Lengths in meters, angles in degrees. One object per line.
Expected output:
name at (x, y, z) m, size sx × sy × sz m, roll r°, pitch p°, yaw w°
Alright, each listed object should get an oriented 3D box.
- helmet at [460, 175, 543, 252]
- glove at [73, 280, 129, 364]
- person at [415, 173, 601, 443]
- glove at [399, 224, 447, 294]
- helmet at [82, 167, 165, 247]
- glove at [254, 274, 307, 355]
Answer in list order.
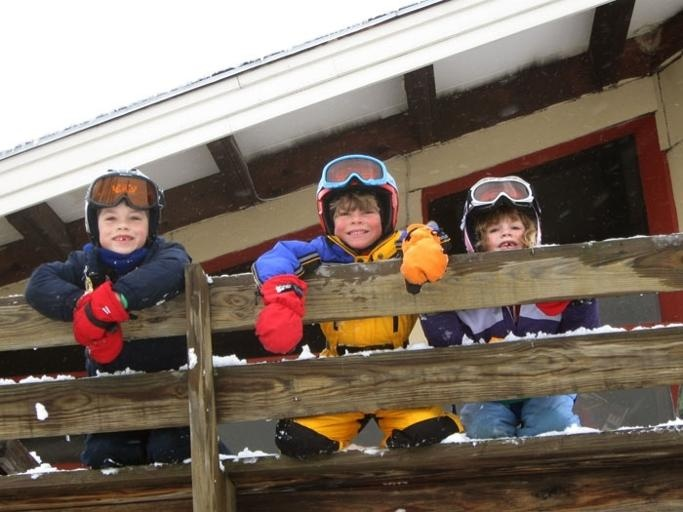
helmet at (1.171, -0.314, 9.028) m, size 0.532 × 0.563 × 0.554 m, roll 0°, pitch 11°, yaw 9°
glove at (-1.567, 0.438, 8.024) m, size 0.391 × 0.496 × 0.271 m, roll -12°, pitch -11°, yaw 8°
person at (1.107, 0.280, 8.325) m, size 1.279 × 1.858 × 0.747 m, roll -3°, pitch -20°, yaw 16°
glove at (0.538, -0.015, 8.066) m, size 0.202 × 0.279 × 0.457 m, roll 20°, pitch 19°, yaw -8°
helmet at (-1.564, -0.439, 8.787) m, size 0.575 × 0.240 × 0.596 m, roll 5°, pitch -9°, yaw -24°
glove at (-0.399, 0.371, 7.826) m, size 0.352 × 0.474 × 0.208 m, roll 5°, pitch -23°, yaw -2°
